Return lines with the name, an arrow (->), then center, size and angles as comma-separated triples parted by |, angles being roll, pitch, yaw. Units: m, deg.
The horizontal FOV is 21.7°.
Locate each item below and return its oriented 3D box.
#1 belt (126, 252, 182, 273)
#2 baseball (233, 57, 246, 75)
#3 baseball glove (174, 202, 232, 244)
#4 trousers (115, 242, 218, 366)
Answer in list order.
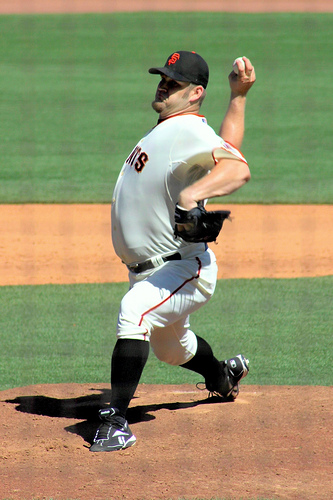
belt -> -0.073, 0.059, 4.120 | 0.139, 0.041, 0.140 | -14, 4, 30
baseball -> 0.366, -0.985, 4.539 | 0.073, 0.095, 0.087 | 1, -2, 23
baseball glove -> 0.163, -0.143, 3.854 | 0.272, 0.177, 0.191 | -20, 14, -25
trousers -> -0.035, 0.297, 4.148 | 0.590, 0.682, 0.396 | -5, 11, -31
